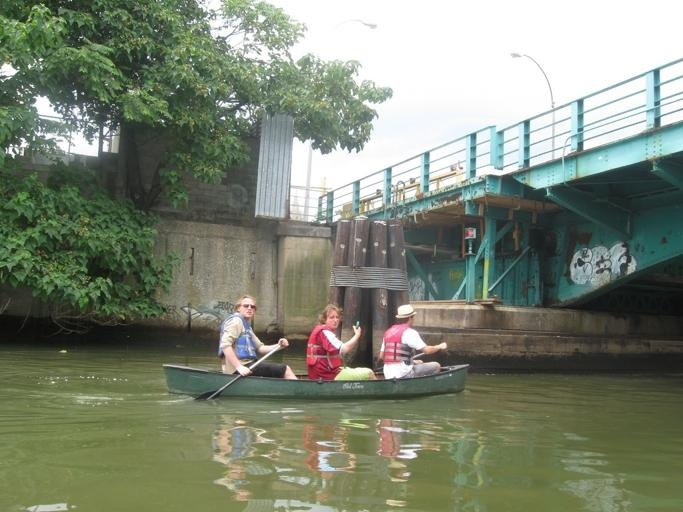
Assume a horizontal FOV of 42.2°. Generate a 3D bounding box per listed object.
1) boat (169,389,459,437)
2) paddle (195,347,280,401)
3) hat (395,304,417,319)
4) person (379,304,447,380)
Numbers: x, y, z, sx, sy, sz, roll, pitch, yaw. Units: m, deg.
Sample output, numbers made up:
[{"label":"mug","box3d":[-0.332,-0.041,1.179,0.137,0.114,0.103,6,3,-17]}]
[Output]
[{"label":"boat","box3d":[-0.625,3.006,19.443,6.070,0.855,1.223,-2,-5,-19]},{"label":"paddle","box3d":[-2.203,2.560,19.060,1.571,0.177,0.158,-37,22,-12]},{"label":"hat","box3d":[1.477,1.230,19.763,0.336,0.161,0.409,-8,-5,15]},{"label":"person","box3d":[1.702,2.103,21.211,1.051,1.971,1.135,15,25,42]}]
